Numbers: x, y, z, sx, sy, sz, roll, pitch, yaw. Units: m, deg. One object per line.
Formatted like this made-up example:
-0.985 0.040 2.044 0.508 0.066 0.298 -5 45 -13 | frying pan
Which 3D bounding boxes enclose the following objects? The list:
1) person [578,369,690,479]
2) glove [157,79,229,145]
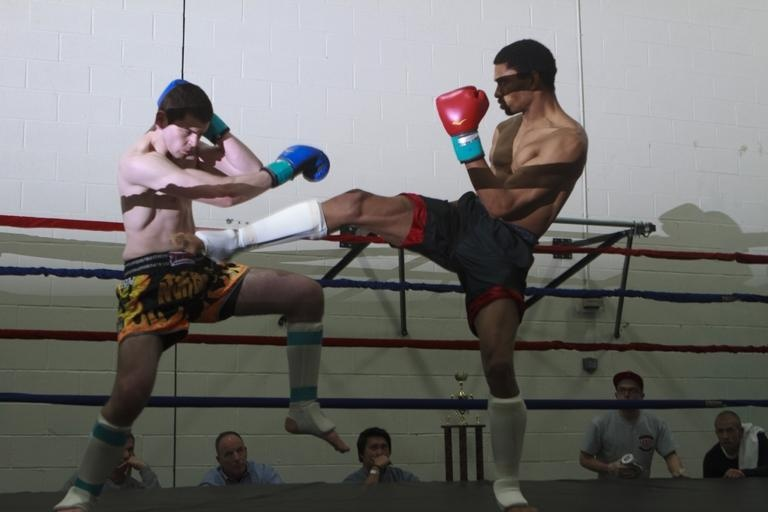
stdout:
1.502 1.047 6.988 0.683 0.944 0.634 0 -14 2 | person
-1.068 -0.789 6.231 0.326 0.421 0.183 -29 36 -24 | glove
